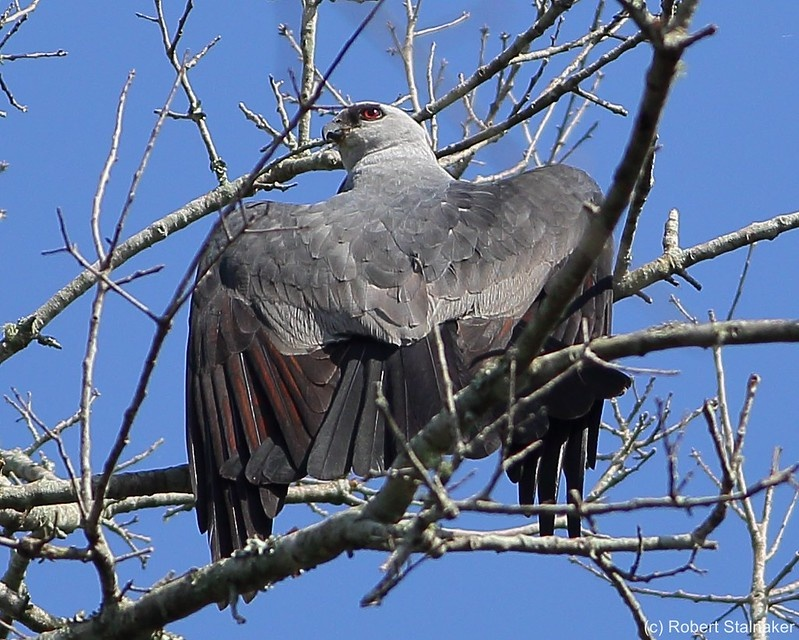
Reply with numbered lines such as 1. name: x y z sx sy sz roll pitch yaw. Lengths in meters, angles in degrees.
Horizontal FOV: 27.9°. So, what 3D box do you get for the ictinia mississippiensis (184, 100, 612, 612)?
1. ictinia mississippiensis: -0.048 0.152 7.443 2.327 2.498 1.143 -24 -65 -18
